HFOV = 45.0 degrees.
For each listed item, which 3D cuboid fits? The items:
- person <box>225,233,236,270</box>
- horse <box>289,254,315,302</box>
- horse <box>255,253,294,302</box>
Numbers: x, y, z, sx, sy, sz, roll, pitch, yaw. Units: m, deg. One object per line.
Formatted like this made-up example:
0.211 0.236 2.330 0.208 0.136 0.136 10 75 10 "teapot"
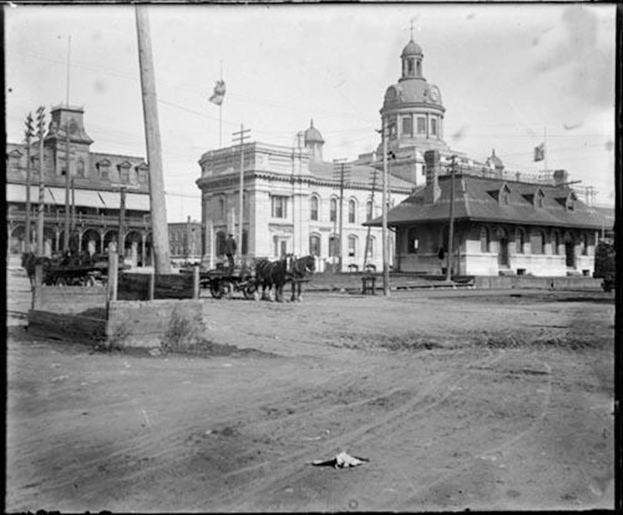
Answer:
-3.306 -0.151 30.563 0.367 1.427 1.295 0 9 -6 "person"
-0.622 0.847 31.640 0.599 2.029 2.360 -2 4 -34 "horse"
-1.640 0.863 31.172 0.768 1.995 2.530 2 -3 -39 "horse"
